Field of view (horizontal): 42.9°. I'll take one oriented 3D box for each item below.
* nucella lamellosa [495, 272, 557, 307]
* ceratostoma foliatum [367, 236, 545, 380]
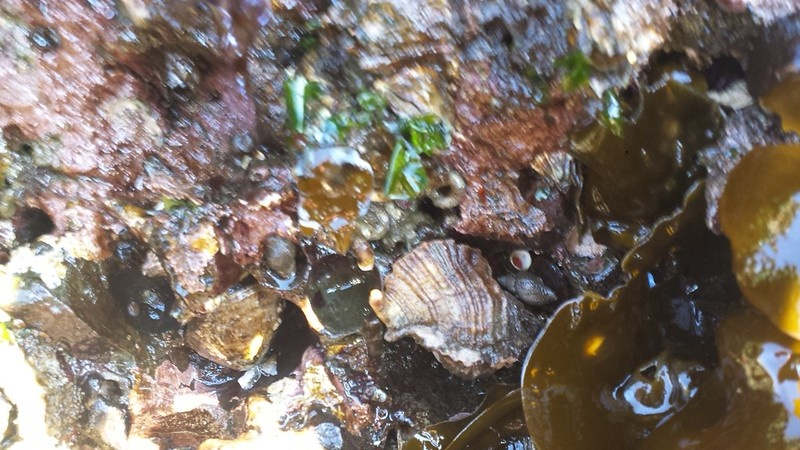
[{"bbox_3d":[0.959,0.469,7.556,0.421,0.258,0.135,24,4,3],"label":"nucella lamellosa"},{"bbox_3d":[0.375,0.584,7.793,1.095,1.053,0.485,-2,1,3],"label":"ceratostoma foliatum"}]
